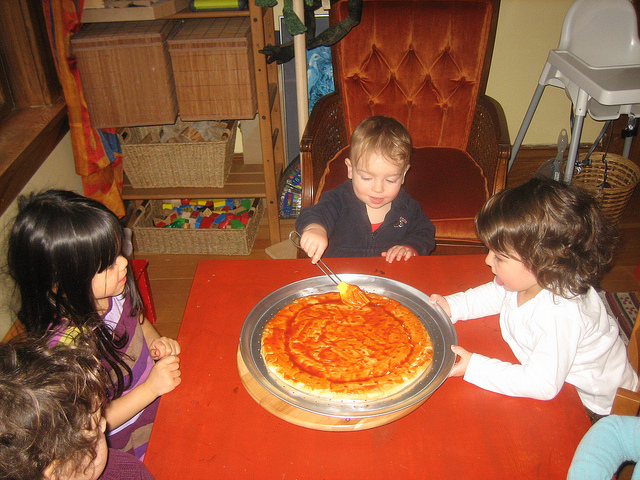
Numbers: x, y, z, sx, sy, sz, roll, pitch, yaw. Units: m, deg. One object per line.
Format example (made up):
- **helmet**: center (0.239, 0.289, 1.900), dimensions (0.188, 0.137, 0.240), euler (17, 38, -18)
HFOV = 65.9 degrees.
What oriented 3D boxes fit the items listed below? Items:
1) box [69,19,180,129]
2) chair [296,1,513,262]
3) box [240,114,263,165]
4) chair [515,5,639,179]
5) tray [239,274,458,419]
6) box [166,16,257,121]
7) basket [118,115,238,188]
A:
- **box**: center (-1.006, -0.918, 2.903), dimensions (0.524, 0.580, 0.566), euler (1, 36, 2)
- **chair**: center (0.436, -0.582, 2.562), dimensions (0.949, 1.502, 1.107), euler (0, 56, 2)
- **box**: center (-0.463, -0.718, 3.493), dimensions (0.118, 0.239, 0.135), euler (2, 13, 2)
- **chair**: center (1.509, -0.792, 2.658), dimensions (0.500, 0.866, 0.550), euler (-1, 22, 1)
- **tray**: center (0.147, 0.329, 1.407), dimensions (0.428, 0.052, 0.453), euler (-14, 44, -16)
- **box**: center (-0.577, -0.993, 3.003), dimensions (0.492, 0.546, 0.525), euler (-4, 31, 0)
- **basket**: center (-0.878, -0.475, 2.931), dimensions (0.420, 0.279, 0.585), euler (0, 23, 3)
